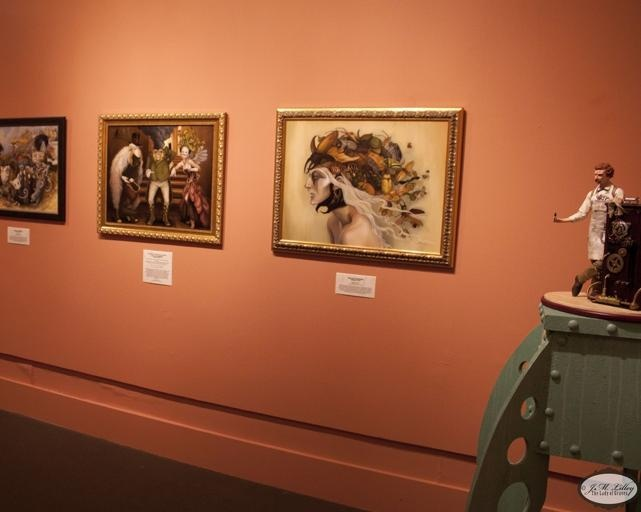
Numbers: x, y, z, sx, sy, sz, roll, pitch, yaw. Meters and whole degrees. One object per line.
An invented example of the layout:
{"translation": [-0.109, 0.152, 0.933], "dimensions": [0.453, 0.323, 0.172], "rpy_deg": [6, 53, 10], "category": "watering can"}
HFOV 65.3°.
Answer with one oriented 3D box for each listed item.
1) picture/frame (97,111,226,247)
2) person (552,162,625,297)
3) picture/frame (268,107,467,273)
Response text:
{"translation": [-1.340, -0.695, 4.308], "dimensions": [0.972, 0.959, 0.079], "rpy_deg": [7, 10, 20], "category": "picture/frame"}
{"translation": [1.573, -0.188, 2.966], "dimensions": [0.310, 0.720, 0.794], "rpy_deg": [8, 12, 25], "category": "person"}
{"translation": [0.422, -0.532, 3.820], "dimensions": [1.089, 1.000, 0.054], "rpy_deg": [6, 10, 23], "category": "picture/frame"}
